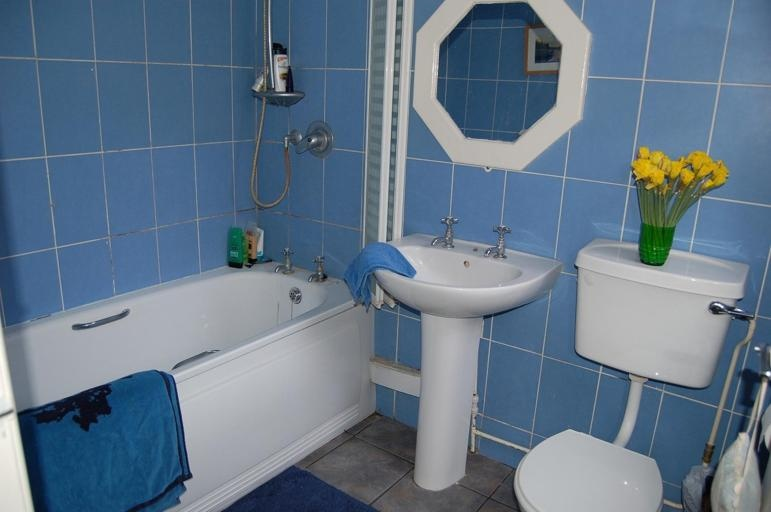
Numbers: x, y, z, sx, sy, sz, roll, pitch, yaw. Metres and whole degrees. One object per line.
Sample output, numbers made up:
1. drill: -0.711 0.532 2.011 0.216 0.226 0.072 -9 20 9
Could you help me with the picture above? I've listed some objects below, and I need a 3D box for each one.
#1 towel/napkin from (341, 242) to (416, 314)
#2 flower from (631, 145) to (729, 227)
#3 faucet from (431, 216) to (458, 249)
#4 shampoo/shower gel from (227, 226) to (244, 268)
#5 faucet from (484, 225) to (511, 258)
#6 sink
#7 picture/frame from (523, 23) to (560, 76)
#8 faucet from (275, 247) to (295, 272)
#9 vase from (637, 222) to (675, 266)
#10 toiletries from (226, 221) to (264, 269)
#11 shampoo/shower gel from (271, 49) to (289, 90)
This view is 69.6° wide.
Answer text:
1. towel/napkin: -0.047 0.059 2.620 0.299 0.133 0.304 18 31 28
2. flower: 1.152 -0.275 2.345 0.368 0.400 0.324 -1 11 -16
3. faucet: 0.305 -0.120 2.773 0.163 0.176 0.112 -5 16 -21
4. shampoo/shower gel: -0.914 -0.052 3.377 0.105 0.238 0.027 5 9 13
5. faucet: 0.537 -0.066 2.664 0.127 0.151 0.103 1 6 0
6. sink: 0.330 0.130 2.631 0.816 0.243 0.680 10 17 28
7. picture/frame: 0.707 -0.931 2.492 0.192 0.225 0.024 17 31 18
8. faucet: -0.599 0.019 3.325 0.108 0.142 0.138 11 12 40
9. vase: 1.129 -0.048 2.322 0.142 0.174 0.132 6 -2 31
10. toiletries: -0.846 -0.074 3.451 0.215 0.313 0.243 16 24 27
11. shampoo/shower gel: -0.579 -1.009 3.051 0.057 0.218 0.101 8 20 21
